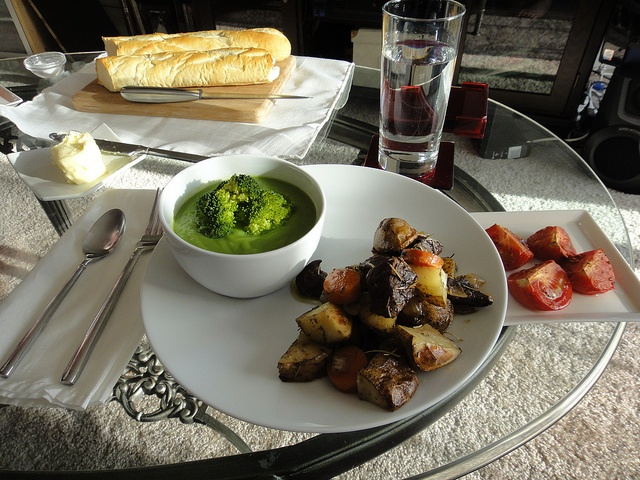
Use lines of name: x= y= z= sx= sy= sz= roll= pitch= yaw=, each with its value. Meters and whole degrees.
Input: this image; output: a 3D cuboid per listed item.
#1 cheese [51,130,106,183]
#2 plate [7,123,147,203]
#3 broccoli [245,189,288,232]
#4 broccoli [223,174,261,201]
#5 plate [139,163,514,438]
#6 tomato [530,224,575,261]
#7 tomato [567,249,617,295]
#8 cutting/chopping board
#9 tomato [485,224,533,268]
cheese: x=-0.589 y=-0.211 z=1.088 sx=0.103 sy=0.124 sz=0.130 roll=2 pitch=10 yaw=5
plate: x=-0.691 y=-0.170 z=1.109 sx=0.217 sy=0.060 sz=0.206 roll=-35 pitch=58 yaw=-23
broccoli: x=-0.098 y=-0.063 z=0.833 sx=0.071 sy=0.087 sz=0.028 roll=25 pitch=4 yaw=-18
broccoli: x=-0.153 y=-0.102 z=0.835 sx=0.057 sy=0.026 sz=0.059 roll=18 pitch=42 yaw=11
plate: x=-0.010 y=0.140 z=0.976 sx=0.667 sy=0.461 sz=0.508 roll=-6 pitch=31 yaw=-11
tomato: x=0.495 y=0.012 z=0.917 sx=0.076 sy=0.033 sz=0.083 roll=-11 pitch=52 yaw=0
tomato: x=0.552 y=0.070 z=0.864 sx=0.078 sy=0.059 sz=0.094 roll=12 pitch=46 yaw=16
cutting/chopping board: x=-0.437 y=-0.643 z=1.581 sx=0.792 sy=0.221 sz=0.465 roll=-2 pitch=30 yaw=6
tomato: x=0.405 y=0.023 z=0.913 sx=0.089 sy=0.039 sz=0.094 roll=15 pitch=32 yaw=-48
